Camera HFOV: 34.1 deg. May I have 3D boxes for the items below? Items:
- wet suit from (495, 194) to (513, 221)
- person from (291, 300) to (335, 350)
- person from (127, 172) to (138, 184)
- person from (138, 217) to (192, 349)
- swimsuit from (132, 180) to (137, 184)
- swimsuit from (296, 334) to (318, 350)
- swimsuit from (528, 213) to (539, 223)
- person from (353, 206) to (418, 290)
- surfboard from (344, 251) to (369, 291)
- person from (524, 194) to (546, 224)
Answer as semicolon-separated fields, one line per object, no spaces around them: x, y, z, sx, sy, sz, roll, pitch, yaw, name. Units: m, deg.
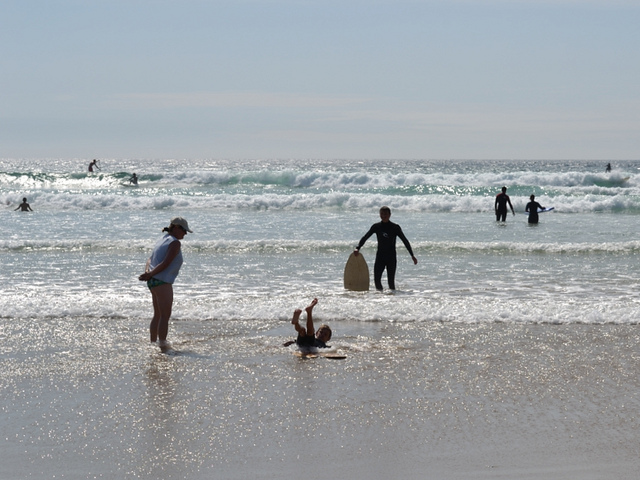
5.156;-0.950;29.906;0.408;0.804;1.056;1;8;9;wet suit
-0.145;1.225;14.897;0.421;0.769;0.490;-3;2;26;person
-8.719;-2.862;48.582;0.521;0.390;0.724;2;-18;-27;person
-2.288;0.545;15.471;0.679;1.831;1.594;-1;8;-7;person
-8.464;-2.631;47.825;0.203;0.134;0.345;-2;8;-13;swimsuit
-0.192;1.440;14.791;0.284;0.195;0.075;1;9;4;swimsuit
5.844;-0.619;29.087;0.287;0.266;0.272;4;9;23;swimsuit
1.138;0.118;18.697;0.821;1.551;1.488;0;8;2;person
0.625;0.640;18.562;0.494;0.126;1.438;0;34;0;surfboard
5.959;-0.872;29.354;0.439;0.867;1.358;2;8;10;person
